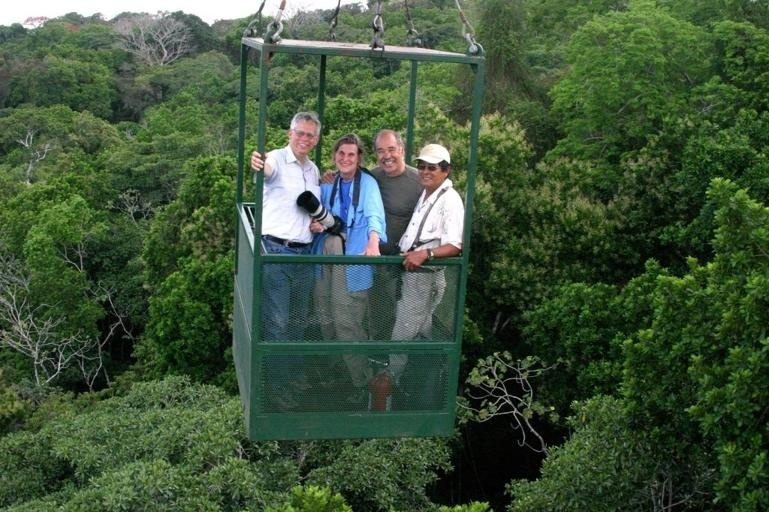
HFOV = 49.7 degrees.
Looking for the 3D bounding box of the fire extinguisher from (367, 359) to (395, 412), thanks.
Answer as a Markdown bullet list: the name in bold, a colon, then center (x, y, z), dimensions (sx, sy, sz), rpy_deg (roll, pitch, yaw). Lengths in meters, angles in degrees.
- **fire extinguisher**: center (-0.031, 2.892, 17.832), dimensions (0.445, 0.835, 0.455), rpy_deg (3, 11, 8)
